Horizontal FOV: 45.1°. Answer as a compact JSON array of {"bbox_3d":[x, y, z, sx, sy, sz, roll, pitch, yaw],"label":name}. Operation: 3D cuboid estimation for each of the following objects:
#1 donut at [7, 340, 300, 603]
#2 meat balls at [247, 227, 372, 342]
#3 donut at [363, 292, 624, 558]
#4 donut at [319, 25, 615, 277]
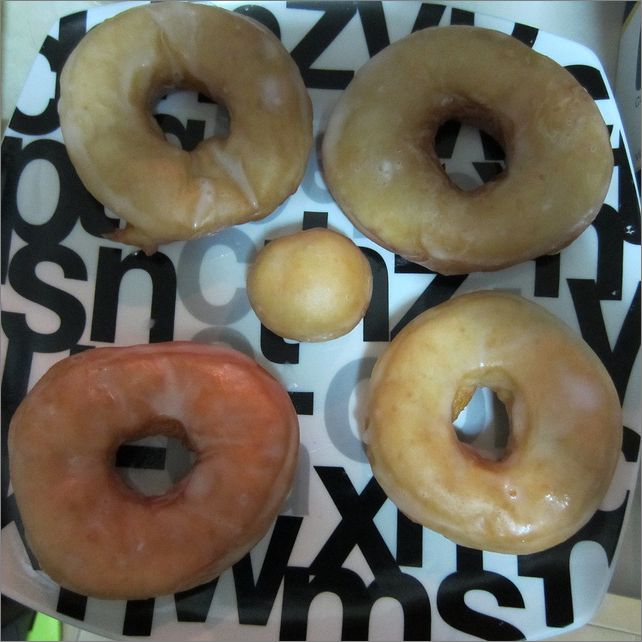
[{"bbox_3d":[-0.267,0.229,1.279,0.471,0.142,0.422,-16,80,-3],"label":"donut"},{"bbox_3d":[-0.014,-0.061,1.339,0.230,0.157,0.185,-14,79,-2],"label":"meat balls"},{"bbox_3d":[0.288,0.166,1.325,0.355,0.137,0.461,11,83,5],"label":"donut"},{"bbox_3d":[0.255,-0.303,1.341,0.501,0.126,0.394,15,80,3],"label":"donut"}]
